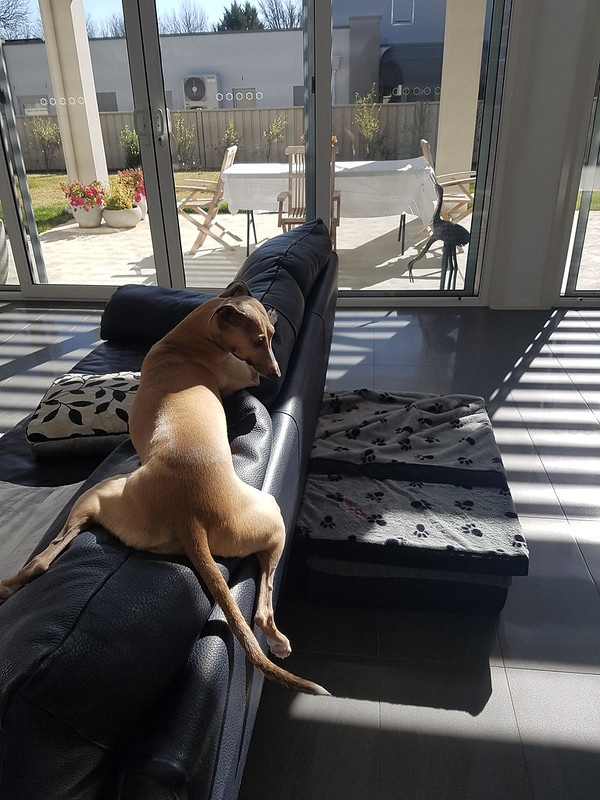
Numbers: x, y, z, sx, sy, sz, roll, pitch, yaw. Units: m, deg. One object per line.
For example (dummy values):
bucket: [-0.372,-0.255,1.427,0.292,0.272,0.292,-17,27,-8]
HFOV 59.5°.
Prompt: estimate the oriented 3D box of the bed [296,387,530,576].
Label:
bed: [0.416,0.294,2.159,0.790,0.293,1.072,5,29,10]

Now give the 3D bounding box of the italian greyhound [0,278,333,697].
italian greyhound: [-0.231,0.046,1.222,0.533,0.459,1.119,7,15,-11]

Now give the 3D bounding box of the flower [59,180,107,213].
flower: [-1.799,-1.703,4.355,0.266,0.182,0.241,-1,37,-9]

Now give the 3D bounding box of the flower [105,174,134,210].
flower: [-1.457,-1.699,4.333,0.234,0.236,0.140,8,20,29]

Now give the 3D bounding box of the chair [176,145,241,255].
chair: [-0.837,-1.629,4.449,0.537,0.754,0.499,-5,21,-8]

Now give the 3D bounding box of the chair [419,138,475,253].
chair: [1.233,-1.542,4.224,0.553,0.670,0.561,0,34,19]

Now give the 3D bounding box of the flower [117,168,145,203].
flower: [-1.338,-1.727,4.222,0.215,0.217,0.105,-23,20,29]

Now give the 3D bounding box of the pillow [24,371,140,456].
pillow: [-0.742,0.026,1.966,0.430,0.214,0.448,-5,24,-12]
